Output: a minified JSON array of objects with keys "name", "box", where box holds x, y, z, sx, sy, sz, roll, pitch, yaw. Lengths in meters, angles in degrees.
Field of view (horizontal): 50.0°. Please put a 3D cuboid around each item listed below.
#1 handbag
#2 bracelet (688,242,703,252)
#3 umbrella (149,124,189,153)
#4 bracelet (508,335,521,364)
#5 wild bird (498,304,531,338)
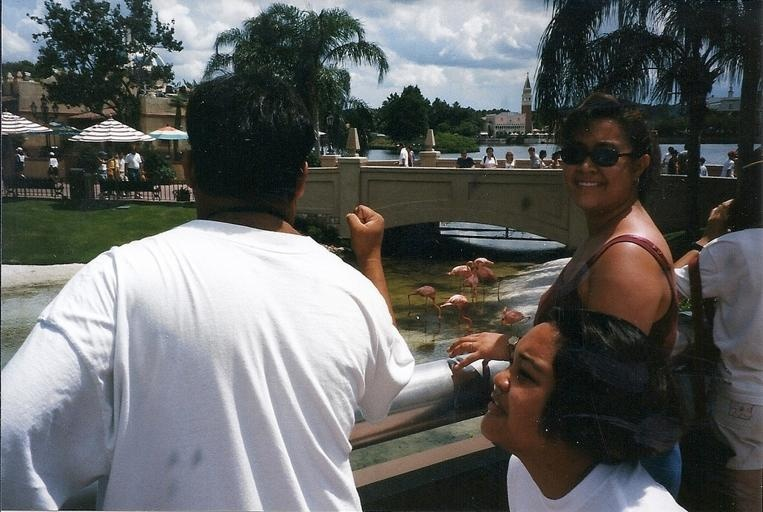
[{"name":"handbag","box":[0.963,0.410,2.456,0.284,0.431,0.122,6,-1,14]},{"name":"bracelet","box":[0.966,-0.029,2.517,0.024,0.038,0.035,28,0,28]},{"name":"umbrella","box":[-0.634,-0.362,2.441,0.105,0.078,0.104,-5,16,-42]},{"name":"bracelet","box":[0.399,0.287,2.493,0.048,0.078,0.079,-3,8,13]},{"name":"wild bird","box":[0.426,0.211,2.584,0.104,0.047,0.146,22,-28,-5]}]
